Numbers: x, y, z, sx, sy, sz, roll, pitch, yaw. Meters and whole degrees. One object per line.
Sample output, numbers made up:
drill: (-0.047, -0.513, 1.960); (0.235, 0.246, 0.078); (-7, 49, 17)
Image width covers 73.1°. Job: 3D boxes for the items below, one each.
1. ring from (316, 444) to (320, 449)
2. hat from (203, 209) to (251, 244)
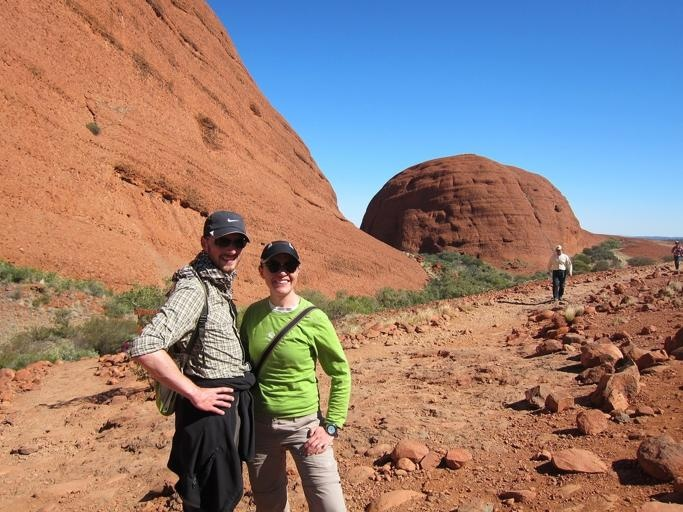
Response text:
ring: (-0.197, 1.556, 3.784); (0.044, 0.033, 0.009); (3, -11, 1)
hat: (-0.987, -0.249, 3.880); (0.286, 0.175, 0.360); (4, -4, -32)
